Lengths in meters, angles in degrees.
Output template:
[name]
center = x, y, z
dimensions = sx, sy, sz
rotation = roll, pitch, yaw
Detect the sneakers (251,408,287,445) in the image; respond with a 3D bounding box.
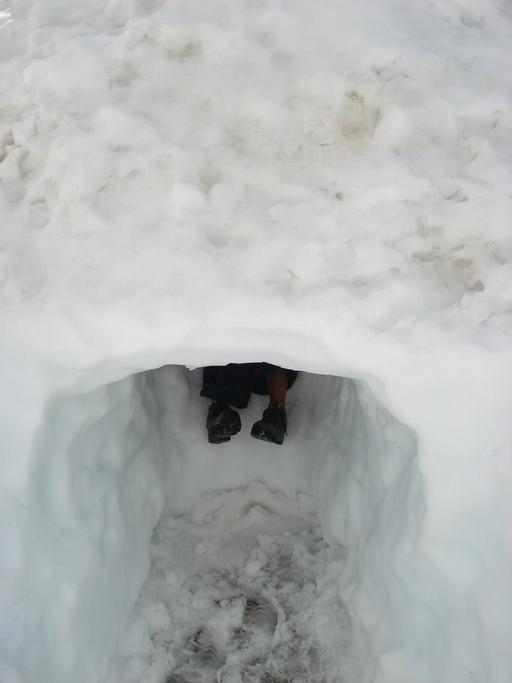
[sneakers]
center = 0.062, 0.321, 3.441
dimensions = 0.125, 0.140, 0.171
rotation = 16, 68, 8
